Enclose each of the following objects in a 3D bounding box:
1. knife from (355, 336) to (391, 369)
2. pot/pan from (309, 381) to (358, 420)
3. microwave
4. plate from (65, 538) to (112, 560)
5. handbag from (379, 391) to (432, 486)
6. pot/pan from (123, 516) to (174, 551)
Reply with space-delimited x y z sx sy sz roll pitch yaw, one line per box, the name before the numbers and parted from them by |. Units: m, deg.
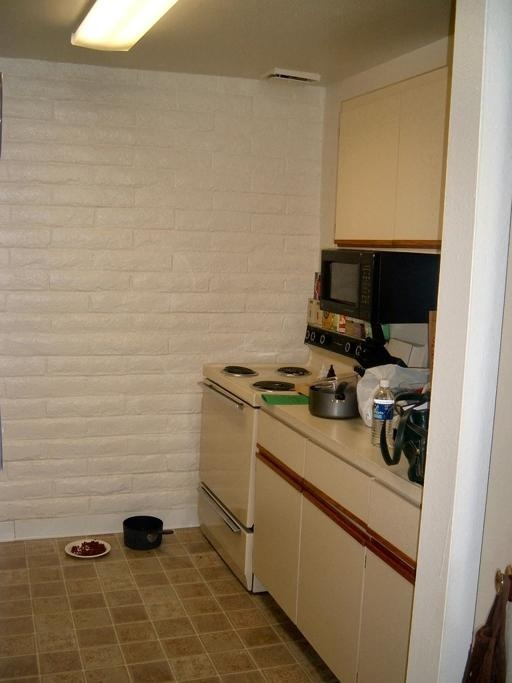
knife | 0.479 0.055 2.341 0.111 0.150 0.058 13 -10 37
pot/pan | 0.292 0.207 2.036 0.137 0.099 0.142 7 15 27
microwave | 0.474 -0.269 2.148 0.305 0.263 0.435 -2 10 -17
plate | -0.848 1.053 2.828 0.214 0.043 0.198 5 3 37
handbag | 0.376 0.233 1.452 0.153 0.201 0.212 1 10 3
pot/pan | -0.571 1.017 2.958 0.261 0.128 0.233 3 3 -8
